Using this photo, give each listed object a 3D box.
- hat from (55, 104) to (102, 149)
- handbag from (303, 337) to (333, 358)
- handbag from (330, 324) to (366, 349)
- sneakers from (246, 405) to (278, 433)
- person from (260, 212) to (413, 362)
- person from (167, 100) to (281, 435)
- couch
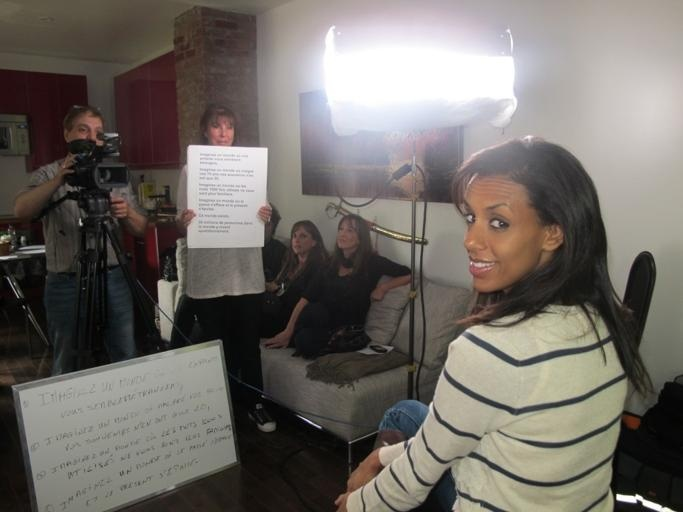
[{"bbox_3d":[-1.049,-0.528,2.143,0.157,0.198,0.199,0,9,-28],"label":"hat"},{"bbox_3d":[-0.128,0.496,2.845,0.111,0.116,0.038,1,-31,17],"label":"handbag"},{"bbox_3d":[0.031,0.428,2.798,0.115,0.069,0.156,-1,10,43],"label":"handbag"},{"bbox_3d":[-0.414,0.870,2.805,0.078,0.087,0.196,-7,5,-29],"label":"sneakers"},{"bbox_3d":[-0.043,0.300,3.303,0.647,0.989,0.783,16,-17,-32],"label":"person"},{"bbox_3d":[-0.582,0.073,2.861,0.495,1.700,0.523,-3,19,-6],"label":"person"},{"bbox_3d":[-0.032,0.607,3.023,0.845,0.694,0.837,5,8,44],"label":"couch"}]
